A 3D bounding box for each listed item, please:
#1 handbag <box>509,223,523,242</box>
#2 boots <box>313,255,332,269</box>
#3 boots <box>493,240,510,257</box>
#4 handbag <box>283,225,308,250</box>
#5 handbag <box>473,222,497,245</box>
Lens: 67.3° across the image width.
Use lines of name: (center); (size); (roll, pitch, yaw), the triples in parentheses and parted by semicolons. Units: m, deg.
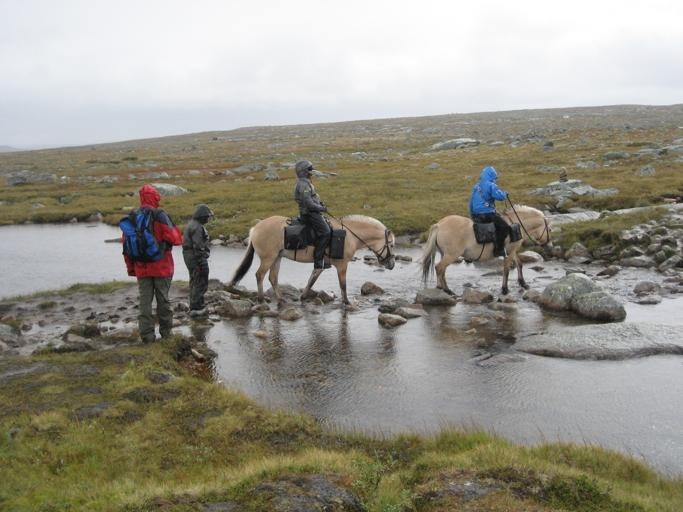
handbag: (6.588, -0.888, 19.474); (0.273, 0.701, 0.552); (8, 17, 42)
boots: (-0.715, 0.206, 18.275); (0.670, 0.579, 0.320); (-5, 19, -12)
boots: (6.069, -0.302, 19.615); (0.804, 0.547, 0.312); (-14, 25, -13)
handbag: (-1.570, -0.657, 18.088); (0.922, 0.849, 0.750); (1, 4, -5)
handbag: (5.350, -0.828, 19.184); (0.821, 0.858, 0.469); (-2, 13, 8)
